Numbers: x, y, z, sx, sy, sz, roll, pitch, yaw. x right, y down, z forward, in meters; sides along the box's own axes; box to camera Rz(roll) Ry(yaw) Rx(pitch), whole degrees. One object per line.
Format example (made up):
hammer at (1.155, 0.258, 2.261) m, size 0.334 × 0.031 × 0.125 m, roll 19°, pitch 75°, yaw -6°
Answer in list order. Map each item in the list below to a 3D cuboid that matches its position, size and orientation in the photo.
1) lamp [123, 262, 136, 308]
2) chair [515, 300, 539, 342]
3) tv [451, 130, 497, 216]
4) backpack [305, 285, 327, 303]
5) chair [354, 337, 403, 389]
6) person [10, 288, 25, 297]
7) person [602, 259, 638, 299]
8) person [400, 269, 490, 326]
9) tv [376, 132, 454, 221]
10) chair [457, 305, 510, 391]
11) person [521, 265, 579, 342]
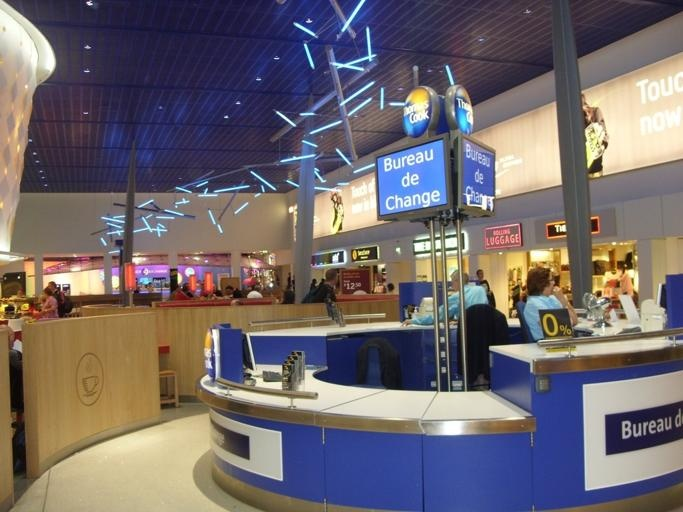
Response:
lamp at (-4.656, 0.647, 12.031) m, size 0.329 × 1.075 × 0.338 m, roll -1°, pitch 6°, yaw -21°
chair at (1.858, 0.664, 5.588) m, size 0.303 × 0.534 × 0.306 m, roll 0°, pitch 4°, yaw 19°
tv at (1.122, -0.689, 4.830) m, size 0.220 × 0.640 × 0.643 m, roll 0°, pitch -2°, yaw 42°
backpack at (-0.439, 0.644, 9.378) m, size 0.408 × 0.236 × 0.301 m, roll -18°, pitch 17°, yaw 46°
chair at (0.373, 1.024, 5.300) m, size 0.341 × 0.579 × 0.525 m, roll -10°, pitch -7°, yaw 23°
person at (-9.082, 0.997, 15.317) m, size 0.321 × 0.305 × 1.198 m, roll -1°, pitch -3°, yaw -32°
person at (5.088, 0.401, 9.942) m, size 0.355 × 1.106 × 0.511 m, roll 7°, pitch -11°, yaw -16°
person at (1.169, 0.469, 5.785) m, size 0.552 × 0.782 × 1.032 m, roll -2°, pitch 1°, yaw -29°
tv at (0.544, -0.692, 4.768) m, size 0.733 × 0.671 × 0.264 m, roll -14°, pitch 23°, yaw -19°
chair at (1.365, 0.847, 5.280) m, size 0.435 × 0.711 × 0.422 m, roll 18°, pitch -6°, yaw 19°
person at (2.015, 0.509, 5.361) m, size 0.390 × 0.806 × 0.644 m, roll -9°, pitch -4°, yaw 34°
